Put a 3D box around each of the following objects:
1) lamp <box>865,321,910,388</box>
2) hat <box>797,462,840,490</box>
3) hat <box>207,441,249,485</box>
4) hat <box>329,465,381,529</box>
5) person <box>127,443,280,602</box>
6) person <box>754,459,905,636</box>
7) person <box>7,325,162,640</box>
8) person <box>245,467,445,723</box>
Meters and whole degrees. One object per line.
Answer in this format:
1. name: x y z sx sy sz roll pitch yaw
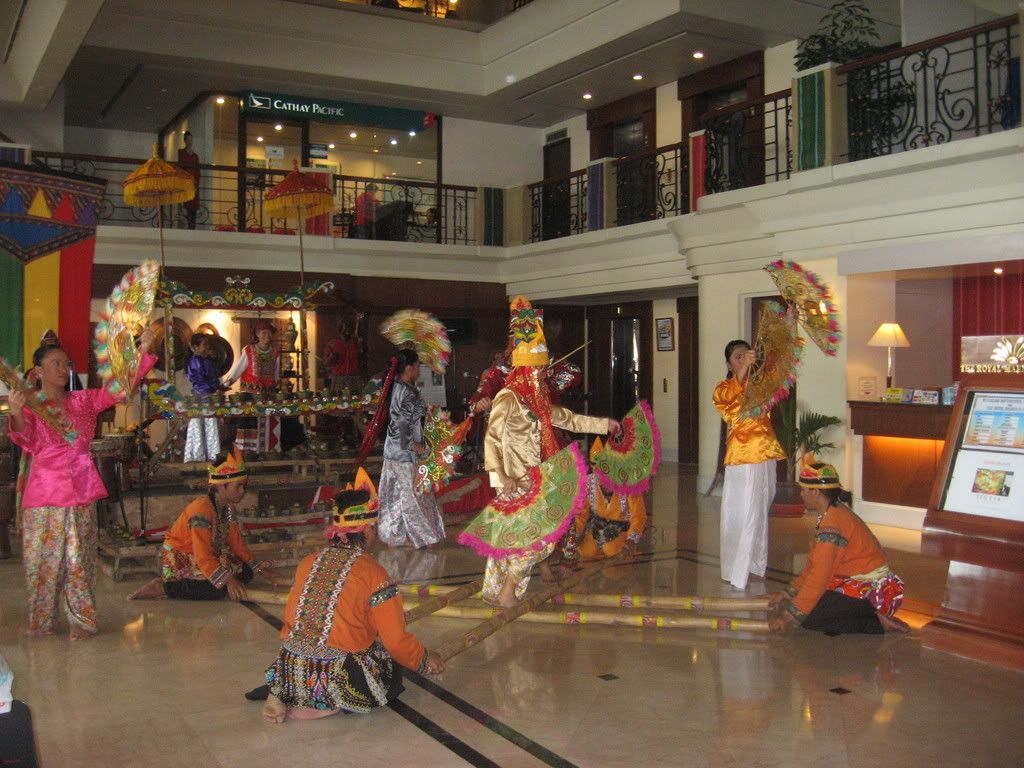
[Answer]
1. lamp: 3.381 -0.277 7.814 0.329 0.592 0.474 3 8 24
2. hat: 1.742 0.522 4.964 0.171 0.101 0.173 2 0 31
3. hat: -1.772 0.515 5.390 0.201 0.227 0.250 -3 8 -22
4. hat: -0.717 0.539 4.007 0.214 0.211 0.258 -3 -8 22
5. person: -1.978 0.893 5.839 1.010 1.188 0.684 2 8 -11
6. person: 1.808 0.921 4.850 0.709 0.946 0.378 1 7 13
7. person: -2.466 0.577 4.781 0.473 1.643 0.287 -4 8 -31
8. person: -0.893 1.165 4.779 0.631 0.948 0.877 18 29 23
